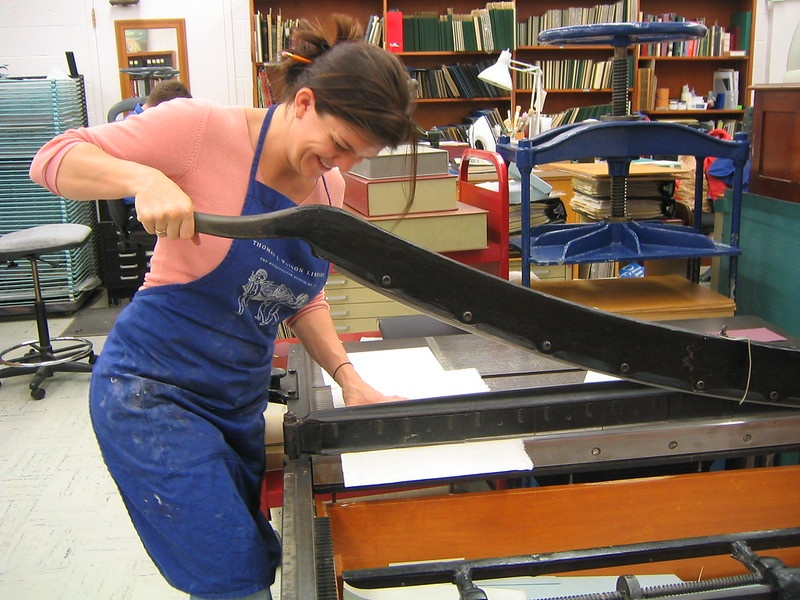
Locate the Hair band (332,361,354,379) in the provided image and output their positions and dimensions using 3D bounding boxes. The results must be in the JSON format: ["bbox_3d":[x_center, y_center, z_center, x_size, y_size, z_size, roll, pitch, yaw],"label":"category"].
[{"bbox_3d":[-0.148,0.176,1.897,0.051,0.049,0.013,-34,82,-26],"label":"Hair band"}]

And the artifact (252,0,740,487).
[{"bbox_3d":[0.871,-0.372,3.247,1.250,1.387,1.002,7,8,18],"label":"artifact"}]

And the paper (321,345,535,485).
[{"bbox_3d":[0.079,0.262,1.637,0.353,0.008,0.438,-2,19,-14],"label":"paper"}]
